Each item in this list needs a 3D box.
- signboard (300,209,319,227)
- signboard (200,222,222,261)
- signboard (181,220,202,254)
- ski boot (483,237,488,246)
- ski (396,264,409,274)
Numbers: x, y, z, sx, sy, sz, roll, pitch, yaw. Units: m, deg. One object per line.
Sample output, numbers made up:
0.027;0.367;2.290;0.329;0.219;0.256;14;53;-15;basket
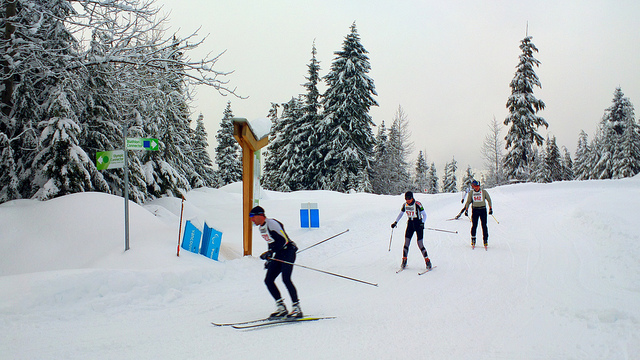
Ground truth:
-0.584;2.227;29.040;0.962;0.925;0.348;-1;-6;0;signboard
-5.509;3.157;25.144;0.525;1.369;1.415;7;-31;17;signboard
-6.194;2.773;23.990;1.101;1.616;0.318;-17;18;-42;signboard
8.069;2.977;24.291;0.189;0.396;0.351;-2;14;10;ski boot
3.756;4.068;22.742;0.836;0.149;0.115;-45;28;-24;ski
